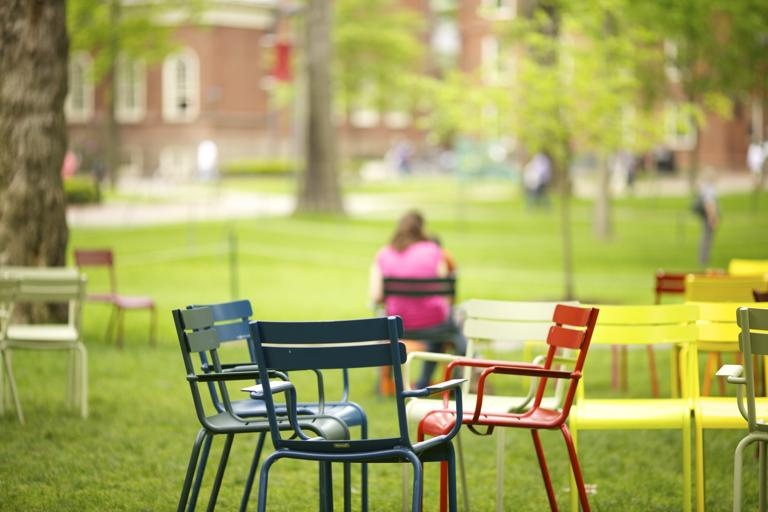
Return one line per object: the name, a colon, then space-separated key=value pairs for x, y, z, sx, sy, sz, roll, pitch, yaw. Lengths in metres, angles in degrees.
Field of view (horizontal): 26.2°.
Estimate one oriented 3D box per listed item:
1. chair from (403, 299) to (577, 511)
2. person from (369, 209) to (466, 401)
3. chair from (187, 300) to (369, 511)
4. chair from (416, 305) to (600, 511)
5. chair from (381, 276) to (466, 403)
chair: x=0.853 y=1.116 z=11.810 sx=1.281 sy=1.897 sz=1.368 roll=2 pitch=-5 yaw=-9
person: x=0.263 y=0.367 z=14.391 sx=0.854 sy=1.649 sz=0.826 roll=6 pitch=18 yaw=22
chair: x=-0.798 y=1.046 z=11.754 sx=1.308 sy=1.896 sz=1.377 roll=-2 pitch=-3 yaw=12
chair: x=0.848 y=1.027 z=11.799 sx=1.254 sy=1.867 sz=1.456 roll=2 pitch=-5 yaw=-4
chair: x=0.386 y=0.624 z=13.975 sx=0.805 sy=1.189 sz=0.837 roll=0 pitch=-5 yaw=2
